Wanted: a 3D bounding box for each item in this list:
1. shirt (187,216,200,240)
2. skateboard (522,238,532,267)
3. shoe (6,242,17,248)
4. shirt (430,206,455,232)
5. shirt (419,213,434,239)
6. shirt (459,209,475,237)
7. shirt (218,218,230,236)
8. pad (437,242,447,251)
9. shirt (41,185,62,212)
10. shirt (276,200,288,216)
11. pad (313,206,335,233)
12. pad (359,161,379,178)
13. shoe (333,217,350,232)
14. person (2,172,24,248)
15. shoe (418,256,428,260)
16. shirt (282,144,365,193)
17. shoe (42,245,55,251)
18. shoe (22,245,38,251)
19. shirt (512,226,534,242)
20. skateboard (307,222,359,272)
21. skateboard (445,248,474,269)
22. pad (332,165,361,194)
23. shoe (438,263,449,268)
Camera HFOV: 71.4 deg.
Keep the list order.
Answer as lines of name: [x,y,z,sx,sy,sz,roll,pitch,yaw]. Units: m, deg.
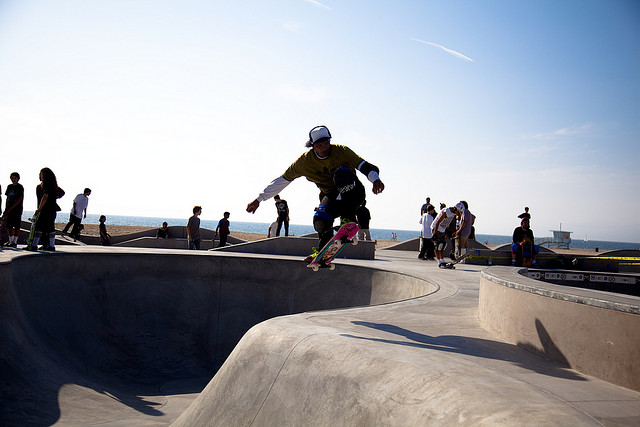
shirt: [-3.697,0.445,13.004,0.312,0.687,0.669,-5,-1,-17]
skateboard: [4.764,0.919,10.249,0.177,0.656,0.092,-1,-7,22]
shoe: [-6.096,0.628,8.834,0.291,0.125,0.101,-4,-5,36]
shirt: [2.815,0.159,10.142,0.584,0.558,0.445,-5,-1,-32]
shirt: [2.630,0.310,10.875,0.179,0.531,0.555,-12,24,-15]
shirt: [3.506,0.240,10.701,0.303,0.646,0.942,-5,-1,17]
shirt: [-3.019,0.442,13.947,0.443,0.564,0.301,5,11,19]
pad: [2.781,0.761,10.216,0.147,0.106,0.198,-1,-5,-4]
shirt: [-4.903,-0.251,8.076,0.251,0.491,0.532,-5,-1,-32]
shirt: [-1.296,-0.154,15.207,0.347,0.526,0.522,-5,-1,-7]
pad: [0.019,0.090,5.911,0.277,0.307,0.344,29,-13,-6]
pad: [0.598,-0.540,5.411,0.207,0.192,0.208,-6,-1,2]
shoe: [0.279,0.153,5.750,0.213,0.180,0.537,-6,-2,0]
person: [-6.056,-0.019,8.771,0.375,1.503,1.332,-5,-1,-35]
shoe: [2.939,1.281,12.700,0.267,0.097,0.281,-6,-2,5]
shirt: [0.136,-0.540,5.293,0.920,0.523,0.235,-15,27,18]
shoe: [-4.850,0.626,7.960,0.207,0.097,0.081,6,1,12]
shoe: [-5.179,0.623,7.963,0.238,0.112,0.085,2,-7,27]
shirt: [4.425,0.458,9.658,0.327,0.288,0.119,-2,-1,15]
skateboard: [0.210,0.379,5.842,1.038,0.296,0.175,26,-42,-31]
skateboard: [3.254,0.934,10.265,0.342,0.300,1.644,-14,-2,29]
pad: [0.304,-0.482,5.627,0.304,0.346,0.379,15,4,-15]
shoe: [2.704,1.146,9.735,0.080,0.107,0.244,1,-8,-26]
